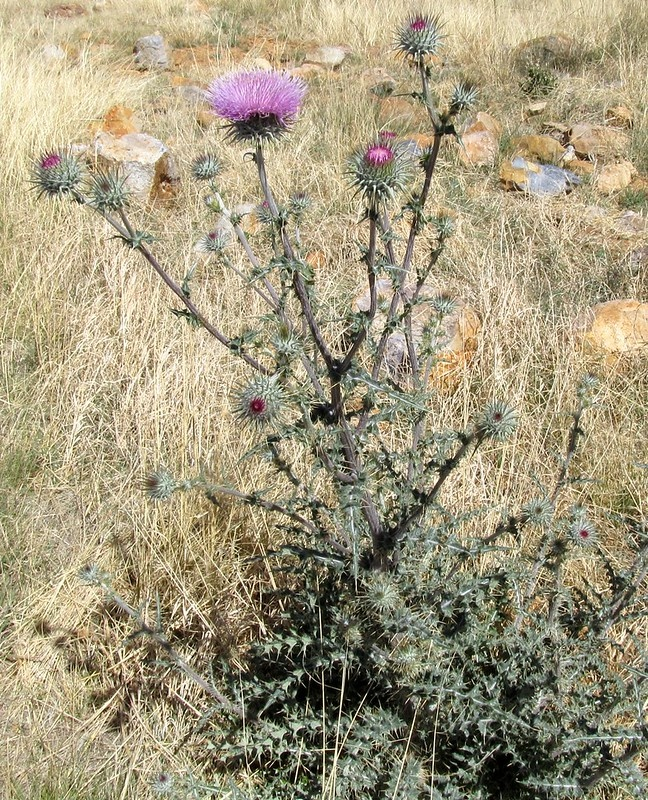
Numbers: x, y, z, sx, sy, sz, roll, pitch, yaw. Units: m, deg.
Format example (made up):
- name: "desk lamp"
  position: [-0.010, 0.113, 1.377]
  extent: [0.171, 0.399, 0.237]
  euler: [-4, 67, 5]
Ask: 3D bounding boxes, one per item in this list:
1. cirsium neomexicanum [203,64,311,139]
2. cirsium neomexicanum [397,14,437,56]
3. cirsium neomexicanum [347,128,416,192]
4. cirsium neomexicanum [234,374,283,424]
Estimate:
- name: "cirsium neomexicanum"
  position: [-0.237, -1.236, 5.696]
  extent: [0.253, 0.279, 0.344]
  euler: [6, 5, -2]
- name: "cirsium neomexicanum"
  position: [0.397, -1.493, 5.773]
  extent: [0.137, 0.195, 0.169]
  euler: [-1, 19, 7]
- name: "cirsium neomexicanum"
  position: [0.219, -0.926, 5.623]
  extent: [0.248, 0.185, 0.300]
  euler: [3, 20, -4]
- name: "cirsium neomexicanum"
  position: [-0.268, 0.000, 5.710]
  extent: [0.197, 0.193, 0.274]
  euler: [-1, 41, -3]
